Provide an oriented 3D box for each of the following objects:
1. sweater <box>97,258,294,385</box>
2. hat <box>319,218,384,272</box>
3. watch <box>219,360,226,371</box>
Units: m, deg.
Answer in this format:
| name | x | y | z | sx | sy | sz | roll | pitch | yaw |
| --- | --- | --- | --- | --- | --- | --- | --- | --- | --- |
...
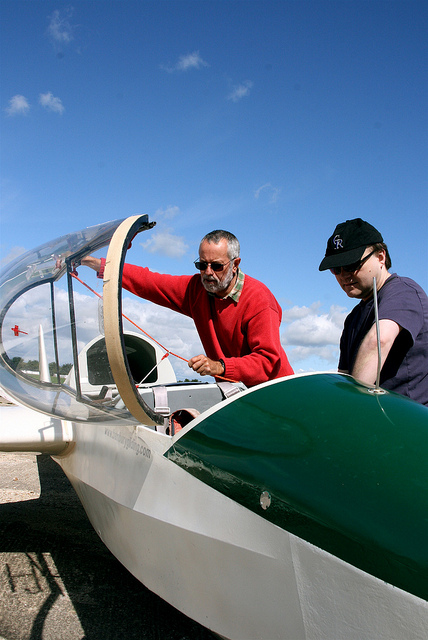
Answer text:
| name | x | y | z | sx | sy | sz | roll | pitch | yaw |
| --- | --- | --- | --- | --- | --- | --- | --- | --- | --- |
| sweater | -0.020 | -0.012 | 2.796 | 0.650 | 0.796 | 1.129 | 6 | -9 | -37 |
| hat | 0.653 | -0.396 | 2.260 | 0.383 | 0.195 | 0.248 | -30 | 22 | -30 |
| watch | 0.035 | 0.209 | 2.119 | 0.028 | 0.050 | 0.045 | -3 | -8 | 20 |
